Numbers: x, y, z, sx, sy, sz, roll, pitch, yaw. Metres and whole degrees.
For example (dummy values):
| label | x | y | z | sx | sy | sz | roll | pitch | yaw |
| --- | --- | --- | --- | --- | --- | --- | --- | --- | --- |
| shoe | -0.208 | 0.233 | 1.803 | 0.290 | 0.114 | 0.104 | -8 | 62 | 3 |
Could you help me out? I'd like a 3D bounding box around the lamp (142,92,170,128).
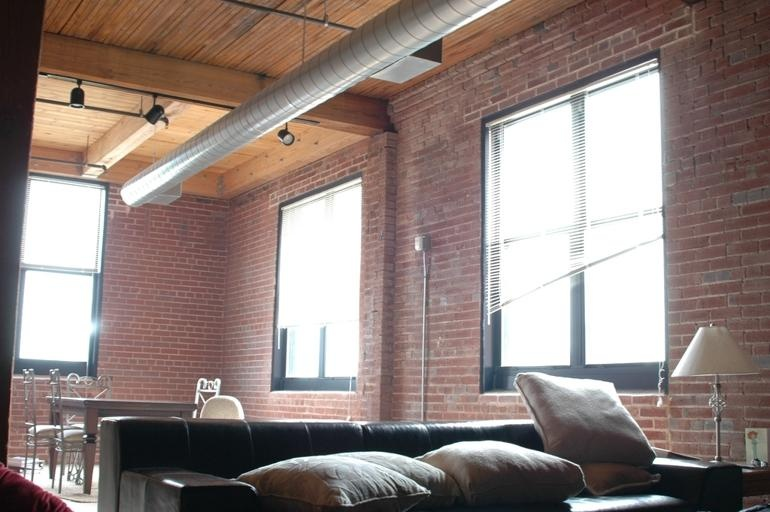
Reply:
| label | x | y | z | sx | sy | sz | roll | pitch | yaw |
| --- | --- | --- | --- | --- | --- | --- | --- | --- | --- |
| lamp | -2.514 | -1.613 | 7.154 | 0.178 | 0.445 | 0.302 | 30 | -62 | -33 |
